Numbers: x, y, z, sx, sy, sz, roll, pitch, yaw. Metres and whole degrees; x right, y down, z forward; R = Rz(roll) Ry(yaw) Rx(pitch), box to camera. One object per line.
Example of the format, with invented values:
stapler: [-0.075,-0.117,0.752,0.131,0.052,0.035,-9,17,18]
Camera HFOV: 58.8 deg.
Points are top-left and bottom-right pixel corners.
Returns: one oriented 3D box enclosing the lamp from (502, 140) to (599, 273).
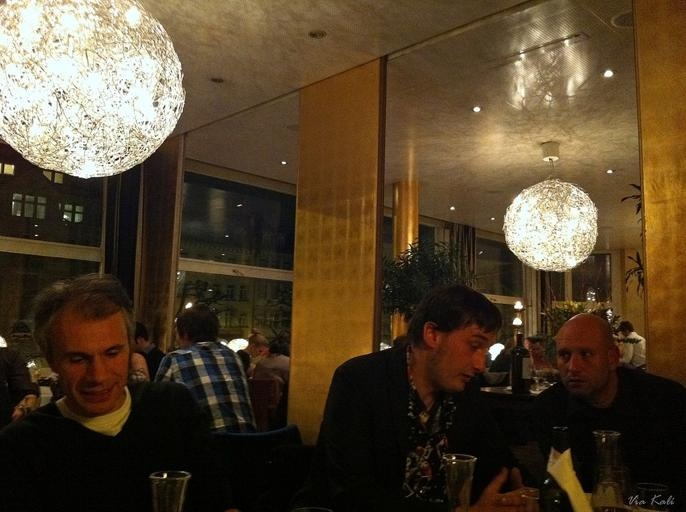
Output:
lamp: [2.305,-0.567,6.520,0.890,1.287,0.881,-14,-4,-43]

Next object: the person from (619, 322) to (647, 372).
person: [4.089,1.341,8.727,0.439,0.781,0.577,-2,-13,32]
